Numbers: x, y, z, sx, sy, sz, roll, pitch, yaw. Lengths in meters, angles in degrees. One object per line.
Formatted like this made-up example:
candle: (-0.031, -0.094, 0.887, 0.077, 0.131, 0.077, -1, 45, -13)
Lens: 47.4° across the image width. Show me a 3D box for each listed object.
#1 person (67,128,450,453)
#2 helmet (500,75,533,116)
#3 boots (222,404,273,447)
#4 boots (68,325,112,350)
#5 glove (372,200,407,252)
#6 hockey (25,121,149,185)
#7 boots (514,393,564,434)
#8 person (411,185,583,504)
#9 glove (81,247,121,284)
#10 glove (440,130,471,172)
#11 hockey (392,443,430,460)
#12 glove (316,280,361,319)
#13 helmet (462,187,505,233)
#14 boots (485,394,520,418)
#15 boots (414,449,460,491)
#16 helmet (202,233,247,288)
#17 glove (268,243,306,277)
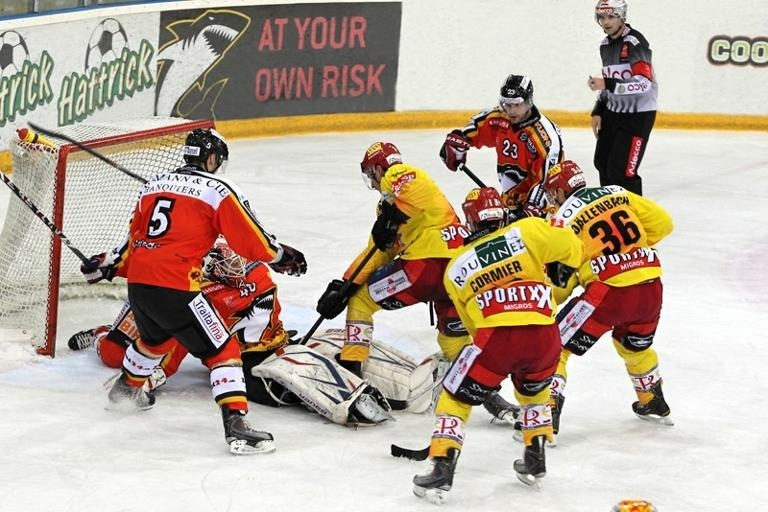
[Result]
person: (-1.163, 0.151, 5.260, 1.446, 1.837, 0.561, 7, 9, 23)
helmet: (0.984, -1.180, 6.459, 0.235, 0.317, 0.237, 4, 8, 6)
boots: (-0.781, 0.989, 4.989, 0.304, 0.224, 0.133, 3, 8, -2)
boots: (-2.019, 0.571, 6.038, 0.278, 0.078, 0.106, -14, 21, -1)
glove: (0.040, -0.206, 5.965, 0.151, 0.299, 0.268, 4, 25, -46)
hockey: (-2.190, -0.753, 6.507, 1.109, 0.077, 0.352, 26, -13, -24)
boots: (0.956, 0.992, 5.396, 0.254, 0.255, 0.302, -12, -6, 38)
person: (0.645, 0.543, 4.768, 0.736, 1.498, 0.578, 5, 8, 10)
glove: (-1.844, 0.064, 5.839, 0.302, 0.187, 0.202, -14, 12, -18)
glove: (0.534, -0.851, 7.021, 0.264, 0.308, 0.140, 5, 26, -43)
hockey: (0.152, 1.140, 5.046, 0.143, 0.030, 0.137, 2, -1, 17)
glove: (-0.323, 0.281, 6.082, 0.241, 0.297, 0.131, 38, 15, -2)
helmet: (0.567, -0.274, 4.970, 0.239, 0.248, 0.280, -6, -1, -17)
boots: (0.742, 0.959, 5.538, 0.212, 0.073, 0.128, 27, 28, 22)
boots: (0.311, 1.153, 4.766, 0.152, 0.254, 0.307, 17, -19, -38)
helmet: (-1.035, 0.044, 5.667, 0.366, 0.280, 0.257, 5, 15, -7)
glove: (-0.599, 0.042, 5.395, 0.250, 0.088, 0.185, 17, 12, -12)
